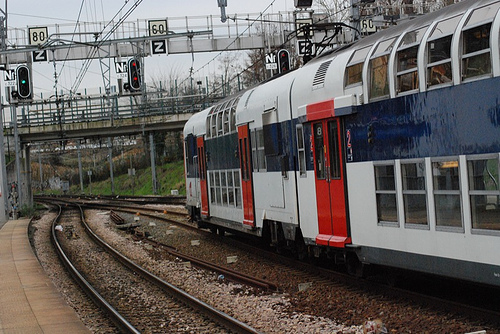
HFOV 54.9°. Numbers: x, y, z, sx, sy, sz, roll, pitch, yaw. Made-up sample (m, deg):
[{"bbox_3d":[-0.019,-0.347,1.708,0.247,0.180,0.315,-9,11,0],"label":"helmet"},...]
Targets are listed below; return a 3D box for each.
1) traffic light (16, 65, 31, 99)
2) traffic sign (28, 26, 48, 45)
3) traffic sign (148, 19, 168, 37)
[{"bbox_3d":[-12.010,-4.512,25.313,0.802,1.719,0.560,-1,3,31],"label":"traffic light"},{"bbox_3d":[-14.703,-8.983,33.146,1.160,1.228,1.050,-4,3,-33],"label":"traffic sign"},{"bbox_3d":[-6.931,-10.401,35.994,1.414,1.365,2.420,-3,3,-12],"label":"traffic sign"}]
